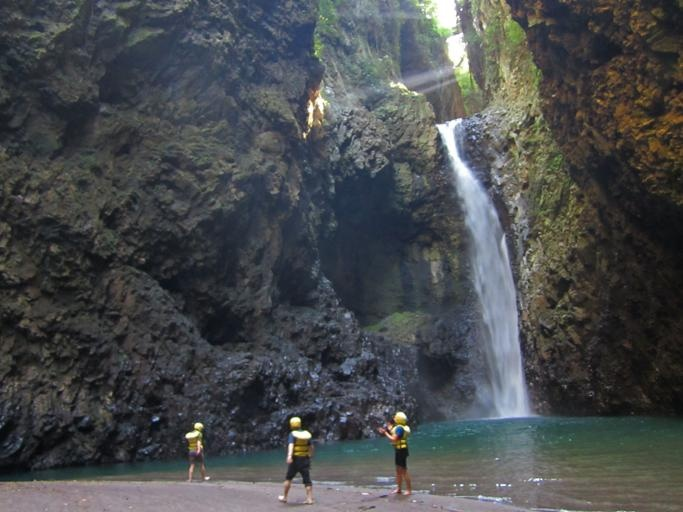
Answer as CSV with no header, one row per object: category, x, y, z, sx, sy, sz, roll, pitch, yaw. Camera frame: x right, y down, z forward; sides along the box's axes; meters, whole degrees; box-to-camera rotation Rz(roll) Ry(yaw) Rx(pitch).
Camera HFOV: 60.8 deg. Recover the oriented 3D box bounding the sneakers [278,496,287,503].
sneakers,-1.461,6.060,14.529,0.218,0.169,0.360,2,-22,-7
